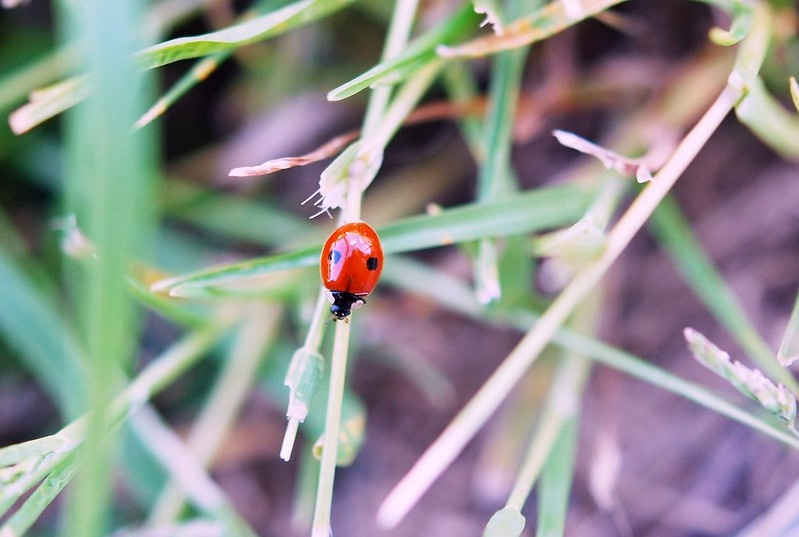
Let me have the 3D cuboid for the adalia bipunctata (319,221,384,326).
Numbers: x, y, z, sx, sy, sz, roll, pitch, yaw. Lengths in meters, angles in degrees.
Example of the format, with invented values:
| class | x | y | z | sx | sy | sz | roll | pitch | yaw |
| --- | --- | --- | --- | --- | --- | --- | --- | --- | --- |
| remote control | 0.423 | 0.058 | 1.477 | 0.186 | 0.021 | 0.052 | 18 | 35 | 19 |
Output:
| class | x | y | z | sx | sy | sz | roll | pitch | yaw |
| --- | --- | --- | --- | --- | --- | --- | --- | --- | --- |
| adalia bipunctata | -0.048 | -0.005 | 0.732 | 0.063 | 0.029 | 0.100 | 16 | -70 | -9 |
